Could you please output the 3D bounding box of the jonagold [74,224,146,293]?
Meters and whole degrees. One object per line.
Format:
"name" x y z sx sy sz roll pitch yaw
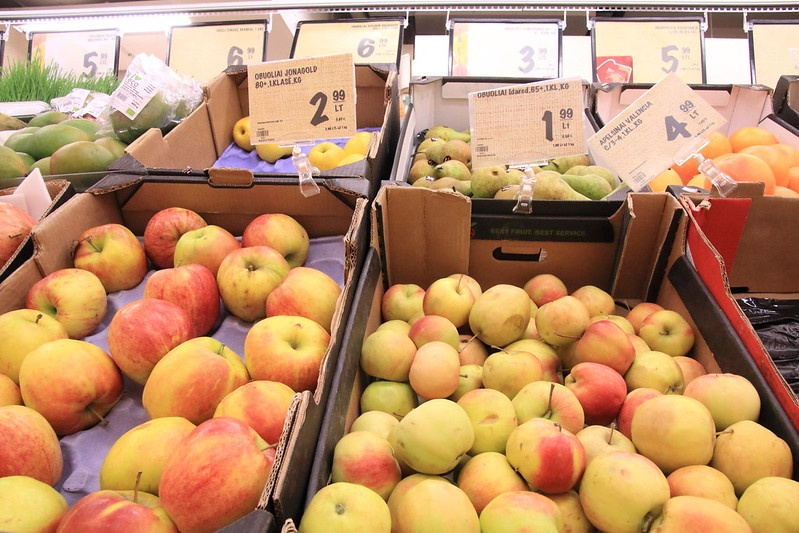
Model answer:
"jonagold" -1.215 -0.022 2.259 0.255 0.260 0.257 2 39 -1

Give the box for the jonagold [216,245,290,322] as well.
"jonagold" -0.603 0.103 2.120 0.182 0.191 0.191 -3 12 2

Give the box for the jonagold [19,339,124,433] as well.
"jonagold" -1.093 0.397 1.761 0.209 0.182 0.182 30 18 -1

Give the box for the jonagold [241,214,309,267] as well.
"jonagold" -0.531 -0.113 2.355 0.232 0.237 0.237 -30 78 -30

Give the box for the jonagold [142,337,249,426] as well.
"jonagold" -0.684 0.404 1.821 0.256 0.295 0.259 25 5 -28

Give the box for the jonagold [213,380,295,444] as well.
"jonagold" -0.432 0.474 1.714 0.191 0.174 0.191 60 20 19
